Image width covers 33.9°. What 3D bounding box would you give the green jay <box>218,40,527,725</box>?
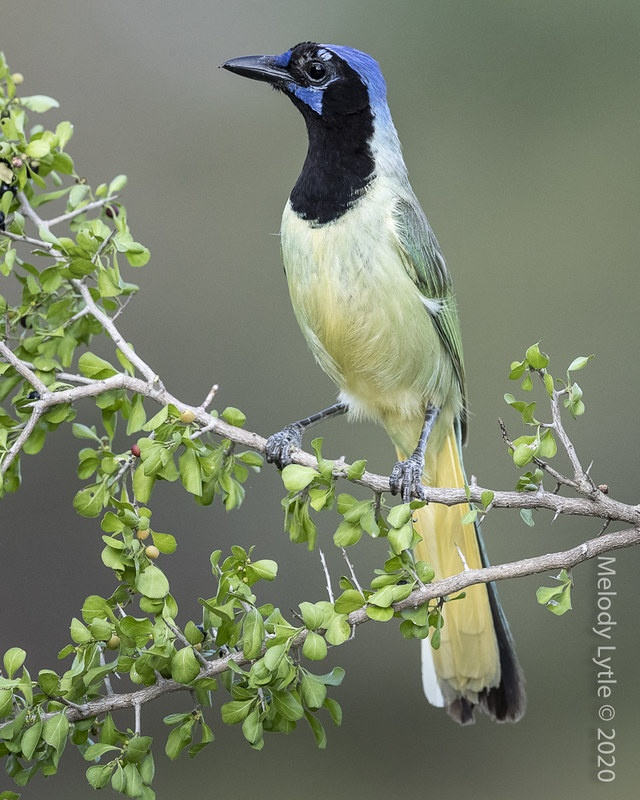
[{"bbox_3d":[0.101,-0.023,2.187,0.411,1.436,0.587,-11,-11,9],"label":"green jay"}]
